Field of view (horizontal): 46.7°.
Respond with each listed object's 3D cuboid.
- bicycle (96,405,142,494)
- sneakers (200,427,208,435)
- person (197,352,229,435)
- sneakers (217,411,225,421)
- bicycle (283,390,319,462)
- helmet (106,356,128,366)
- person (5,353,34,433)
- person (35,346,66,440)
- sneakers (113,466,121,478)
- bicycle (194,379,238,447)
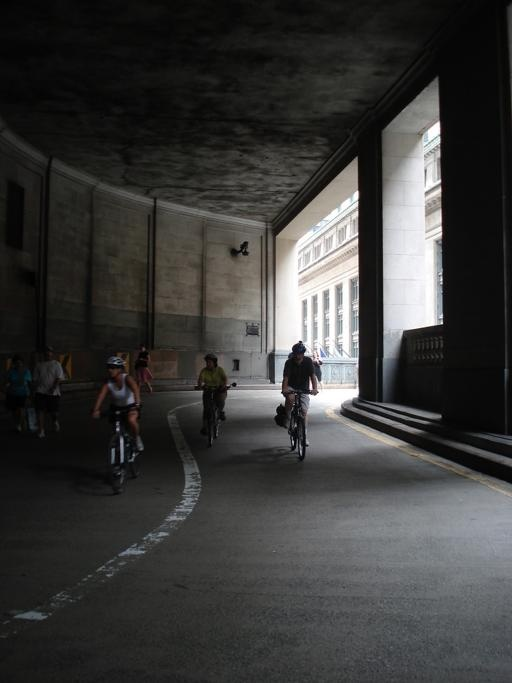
[{"bbox_3d":[-1.608,1.317,7.135,0.317,1.029,1.193,-1,0,-11],"label":"bicycle"},{"bbox_3d":[-0.927,1.659,10.630,0.156,0.188,0.309,-2,-14,0],"label":"sneakers"},{"bbox_3d":[-0.818,0.978,11.215,0.419,1.524,1.361,0,7,-2],"label":"person"},{"bbox_3d":[-0.628,1.486,11.380,0.137,0.229,0.203,4,-10,-22],"label":"sneakers"},{"bbox_3d":[0.693,1.375,9.726,0.571,1.076,1.554,-2,-3,-3],"label":"bicycle"},{"bbox_3d":[-1.737,0.274,7.318,0.192,0.136,0.567,-1,0,-6],"label":"helmet"},{"bbox_3d":[-4.923,1.119,12.217,0.495,1.703,1.120,-1,0,-23],"label":"person"},{"bbox_3d":[-4.226,1.053,11.996,0.579,1.929,0.905,-1,0,-26],"label":"person"},{"bbox_3d":[-1.559,1.515,6.652,0.079,0.090,0.145,4,-2,-5],"label":"sneakers"},{"bbox_3d":[-0.778,1.355,11.185,0.659,1.145,1.676,5,-7,1],"label":"bicycle"}]
